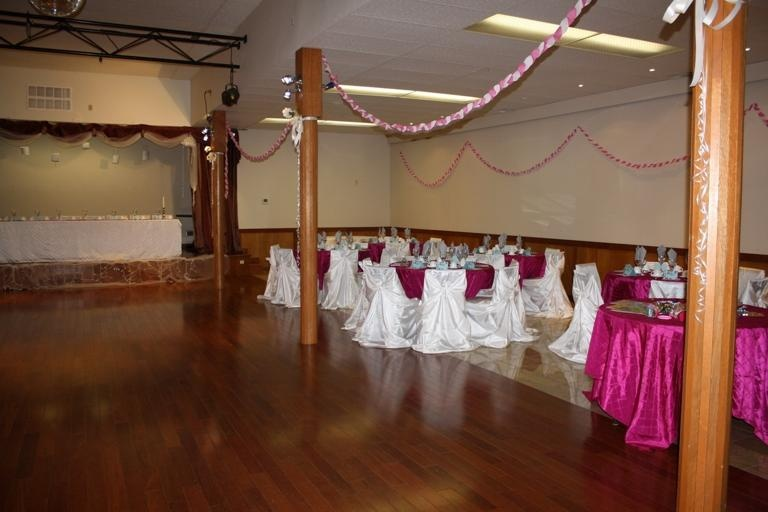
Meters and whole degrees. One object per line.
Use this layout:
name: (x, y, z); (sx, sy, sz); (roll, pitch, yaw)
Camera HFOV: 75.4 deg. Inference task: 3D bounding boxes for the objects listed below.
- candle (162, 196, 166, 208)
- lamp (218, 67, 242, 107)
candle: (-6.263, -1.550, 14.130); (0.132, 0.316, 0.047); (-5, 11, -27)
lamp: (-2.840, -3.143, 9.197); (0.293, 0.689, 0.609); (-3, 10, -15)
